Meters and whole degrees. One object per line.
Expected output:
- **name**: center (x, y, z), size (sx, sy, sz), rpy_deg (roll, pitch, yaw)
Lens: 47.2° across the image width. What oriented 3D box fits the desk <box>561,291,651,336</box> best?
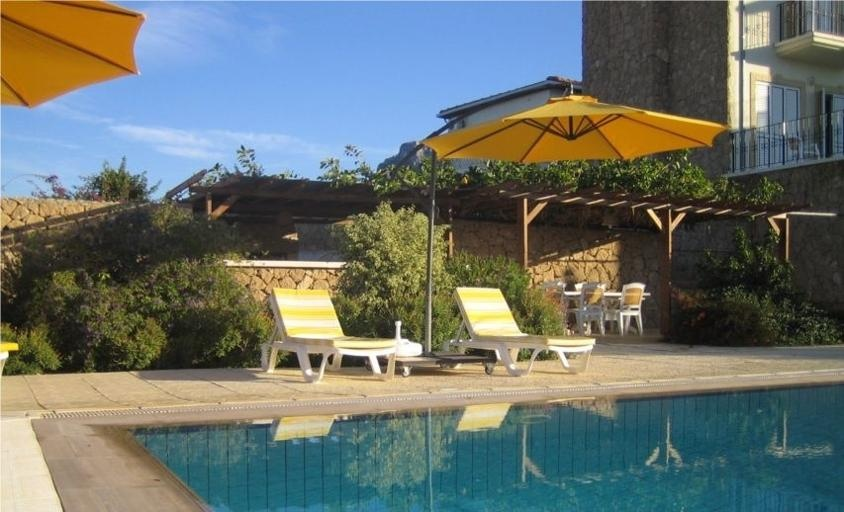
- **desk**: center (4.570, 1.402, 26.132), size (1.765, 1.013, 1.925), rpy_deg (0, 7, 11)
